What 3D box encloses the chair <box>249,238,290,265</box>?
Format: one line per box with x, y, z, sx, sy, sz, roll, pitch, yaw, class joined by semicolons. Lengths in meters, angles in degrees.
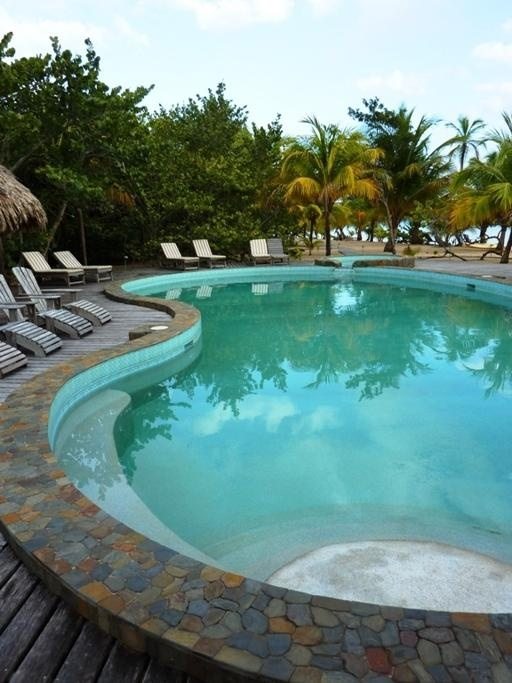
0.508;-3.811;18.935;1.505;1.038;1.168;-8;16;-9;chair

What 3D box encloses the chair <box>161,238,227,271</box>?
-2.393;-3.405;17.584;1.342;1.091;2.449;8;20;39;chair
